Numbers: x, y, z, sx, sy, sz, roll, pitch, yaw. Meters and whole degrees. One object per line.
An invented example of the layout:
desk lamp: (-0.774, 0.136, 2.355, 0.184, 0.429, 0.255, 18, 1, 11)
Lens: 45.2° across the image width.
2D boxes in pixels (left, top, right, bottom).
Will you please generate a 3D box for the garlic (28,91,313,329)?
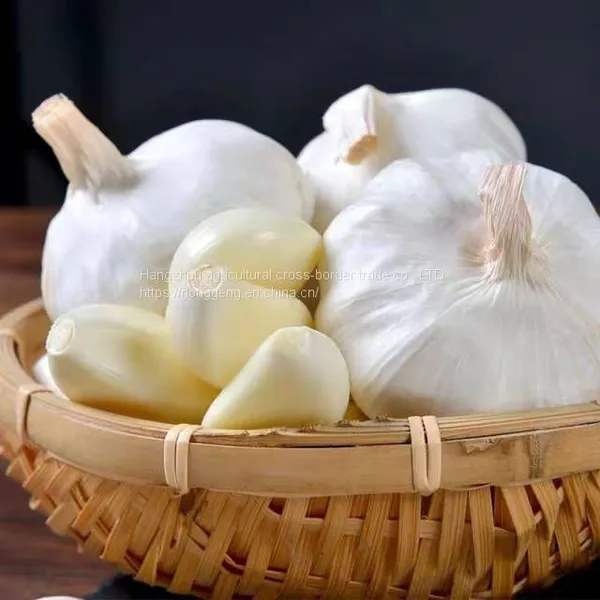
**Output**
garlic: (-0.113, -0.083, 0.679, 0.211, 0.199, 0.218, -40, 24, 11)

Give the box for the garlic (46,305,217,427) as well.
garlic: (-0.118, 0.048, 0.530, 0.111, 0.067, 0.042, 22, 20, -16)

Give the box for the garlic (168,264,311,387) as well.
garlic: (-0.045, 0.014, 0.493, 0.113, 0.055, 0.097, -1, 47, -4)

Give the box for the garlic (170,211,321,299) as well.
garlic: (-0.041, -0.035, 0.554, 0.093, 0.052, 0.062, -12, 0, -27)

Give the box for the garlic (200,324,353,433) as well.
garlic: (-0.005, 0.064, 0.479, 0.121, 0.104, 0.058, -2, 69, -2)
